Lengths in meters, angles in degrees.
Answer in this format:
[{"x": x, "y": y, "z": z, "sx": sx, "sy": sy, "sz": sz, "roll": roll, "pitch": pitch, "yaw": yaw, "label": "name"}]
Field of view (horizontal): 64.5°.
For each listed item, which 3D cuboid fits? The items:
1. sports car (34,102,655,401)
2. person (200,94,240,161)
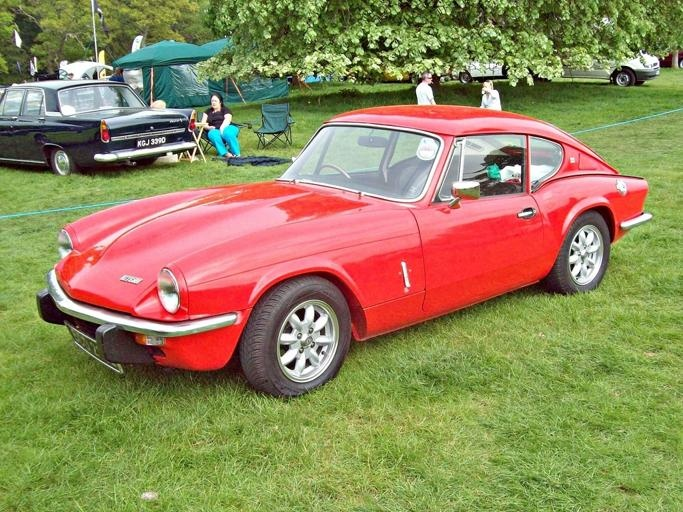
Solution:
[{"x": 0.386, "y": -0.397, "z": 5.337, "sx": 5.805, "sy": 1.535, "sz": 2.450, "roll": -13, "pitch": 20, "yaw": -34, "label": "sports car"}, {"x": -2.727, "y": -3.042, "z": 13.295, "sx": 0.992, "sy": 1.670, "sz": 1.065, "roll": 21, "pitch": 25, "yaw": 38, "label": "person"}]
